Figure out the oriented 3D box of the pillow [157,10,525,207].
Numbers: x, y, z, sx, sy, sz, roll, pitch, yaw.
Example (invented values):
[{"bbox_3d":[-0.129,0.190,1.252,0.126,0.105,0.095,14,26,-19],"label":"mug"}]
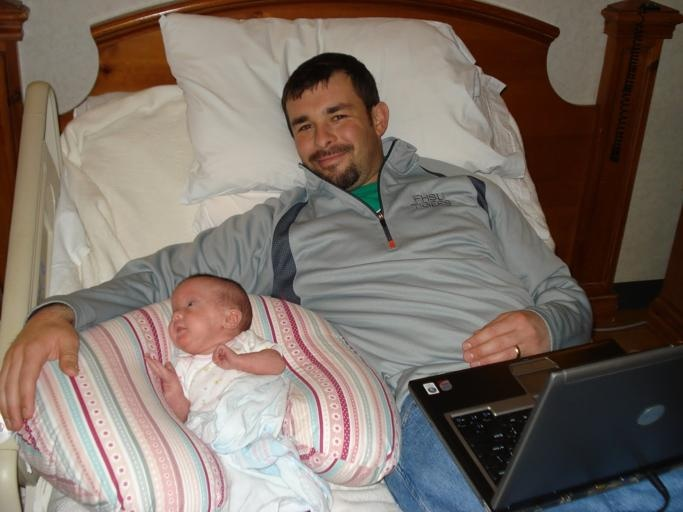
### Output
[{"bbox_3d":[-0.034,-0.552,2.266,1.112,0.685,0.310,-1,-19,-12],"label":"pillow"}]
